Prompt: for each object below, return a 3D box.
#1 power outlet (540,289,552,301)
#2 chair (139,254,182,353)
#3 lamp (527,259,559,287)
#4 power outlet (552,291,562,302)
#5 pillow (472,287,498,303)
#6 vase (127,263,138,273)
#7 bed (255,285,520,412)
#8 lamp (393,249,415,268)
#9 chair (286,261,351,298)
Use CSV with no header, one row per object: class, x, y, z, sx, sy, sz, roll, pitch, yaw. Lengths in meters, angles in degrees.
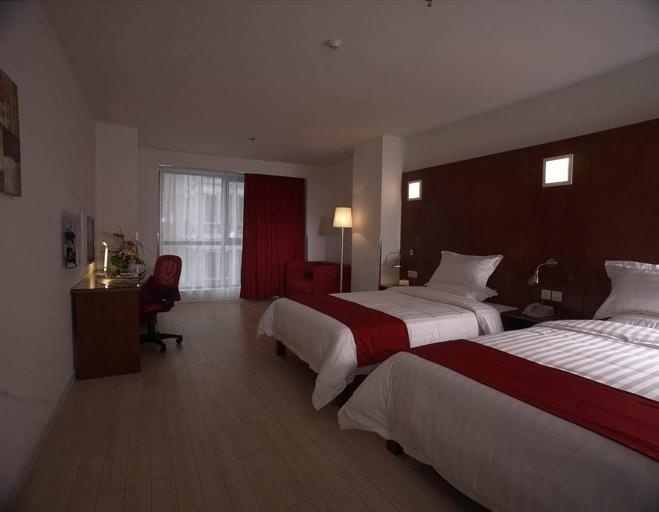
power outlet,2.097,0.369,4.072,0.017,0.122,0.108,1,0,-19
chair,-1.912,0.498,4.762,0.457,1.074,0.839,-4,13,-25
lamp,2.032,0.147,4.024,0.348,0.267,0.166,-6,15,-15
power outlet,2.156,0.377,3.987,0.012,0.108,0.097,3,0,-14
pillow,1.648,0.400,4.460,0.180,0.062,0.172,-16,15,-27
vase,-2.308,0.135,4.889,0.082,0.069,0.094,0,2,0
bed,0.517,0.641,3.704,1.281,0.449,1.214,-6,8,-24
lamp,1.014,0.024,5.707,0.079,0.302,0.364,-6,14,-33
chair,-0.189,0.364,6.820,0.597,0.725,0.790,0,2,-31
